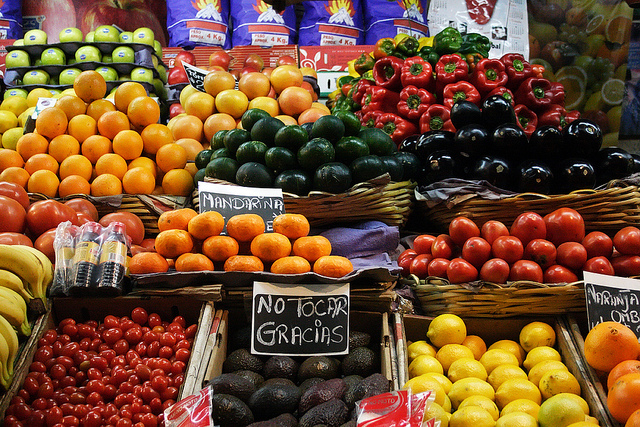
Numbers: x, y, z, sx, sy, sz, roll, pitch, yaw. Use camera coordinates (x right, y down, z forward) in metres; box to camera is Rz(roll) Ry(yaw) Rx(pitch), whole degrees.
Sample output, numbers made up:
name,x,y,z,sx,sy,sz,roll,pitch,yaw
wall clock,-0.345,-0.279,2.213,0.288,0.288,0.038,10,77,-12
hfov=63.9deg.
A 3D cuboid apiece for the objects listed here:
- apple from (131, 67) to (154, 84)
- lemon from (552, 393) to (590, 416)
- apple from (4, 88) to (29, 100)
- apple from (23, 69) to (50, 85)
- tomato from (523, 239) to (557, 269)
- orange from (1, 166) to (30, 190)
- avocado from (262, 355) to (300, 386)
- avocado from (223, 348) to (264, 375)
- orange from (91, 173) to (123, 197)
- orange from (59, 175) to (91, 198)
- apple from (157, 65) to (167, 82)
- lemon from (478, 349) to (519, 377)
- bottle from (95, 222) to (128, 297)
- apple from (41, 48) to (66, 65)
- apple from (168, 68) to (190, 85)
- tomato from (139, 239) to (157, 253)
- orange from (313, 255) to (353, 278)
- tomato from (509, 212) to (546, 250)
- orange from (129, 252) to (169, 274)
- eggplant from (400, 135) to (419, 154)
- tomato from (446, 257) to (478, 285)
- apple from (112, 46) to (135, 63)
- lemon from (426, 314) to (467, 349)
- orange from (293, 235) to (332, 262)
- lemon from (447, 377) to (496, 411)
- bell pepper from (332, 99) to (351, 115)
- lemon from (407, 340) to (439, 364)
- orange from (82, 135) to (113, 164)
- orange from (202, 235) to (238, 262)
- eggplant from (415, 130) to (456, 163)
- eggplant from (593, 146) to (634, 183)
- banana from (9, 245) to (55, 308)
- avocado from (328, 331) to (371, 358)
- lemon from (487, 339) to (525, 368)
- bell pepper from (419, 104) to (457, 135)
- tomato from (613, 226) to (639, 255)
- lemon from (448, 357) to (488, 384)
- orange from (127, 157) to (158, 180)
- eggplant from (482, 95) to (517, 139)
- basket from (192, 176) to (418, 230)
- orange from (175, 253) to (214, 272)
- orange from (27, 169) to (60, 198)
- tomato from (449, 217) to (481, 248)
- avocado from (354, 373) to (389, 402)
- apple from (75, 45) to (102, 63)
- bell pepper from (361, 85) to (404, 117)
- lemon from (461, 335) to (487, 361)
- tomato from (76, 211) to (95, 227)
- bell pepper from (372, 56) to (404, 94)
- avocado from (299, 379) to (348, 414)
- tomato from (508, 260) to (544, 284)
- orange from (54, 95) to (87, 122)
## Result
name,x,y,z,sx,sy,sz,roll,pitch,yaw
apple,-1.637,-1.268,4.737,0.201,0.162,0.217,-2,-3,-19
lemon,1.279,0.939,2.582,0.158,0.080,0.149,-1,4,2
apple,-2.663,-1.041,4.485,0.134,0.109,0.111,-12,7,34
apple,-2.578,-1.242,4.693,0.187,0.179,0.178,-3,21,-11
tomato,1.305,0.246,3.048,0.227,0.180,0.220,-4,0,-5
orange,-2.081,-0.234,3.555,0.159,0.181,0.154,-6,2,-8
avocado,-0.204,0.806,2.620,0.128,0.124,0.164,1,-11,-1
avocado,-0.402,0.786,2.711,0.167,0.094,0.125,3,-5,2
orange,-1.471,-0.187,3.551,0.172,0.163,0.162,-9,24,-9
orange,-1.687,-0.199,3.599,0.168,0.188,0.163,-4,7,-7
apple,-1.578,-1.406,5.158,0.060,0.139,0.066,-11,12,17
lemon,0.964,0.797,2.785,0.165,0.125,0.129,5,1,11
bottle,-1.180,0.262,2.918,0.215,0.449,0.207,-5,-34,-4
apple,-2.545,-1.489,4.877,0.144,0.145,0.150,34,30,15
apple,-1.425,-1.377,5.107,0.271,0.205,0.105,-6,-4,43
tomato,-1.087,0.209,3.242,0.068,0.078,0.071,29,25,38
orange,0.071,0.274,2.801,0.142,0.071,0.135,-2,4,-31
tomato,1.225,0.092,3.014,0.209,0.249,0.195,5,3,0
orange,-0.955,0.286,2.803,0.145,0.099,0.141,0,-7,1
eggplant,0.669,-0.506,3.822,0.150,0.082,0.127,-11,10,19
tomato,0.832,0.341,3.003,0.209,0.156,0.150,2,15,-14
apple,-1.890,-1.524,4.911,0.204,0.176,0.078,-3,-3,0
lemon,0.716,0.685,2.937,0.222,0.205,0.192,-3,-7,-10
orange,-0.059,0.194,2.962,0.220,0.153,0.204,1,15,-20
lemon,0.761,0.894,2.611,0.204,0.144,0.150,0,13,-7
bell pepper,0.195,-0.983,4.714,0.054,0.167,0.091,33,12,-32
lemon,0.578,0.757,2.909,0.129,0.123,0.156,15,20,41
orange,-1.591,-0.447,3.666,0.136,0.133,0.160,-38,-3,27
orange,-0.555,0.198,2.847,0.159,0.105,0.150,4,-5,-37
eggplant,0.806,-0.475,3.649,0.268,0.144,0.195,-10,9,-15
eggplant,1.954,-0.325,3.486,0.265,0.207,0.208,-6,-2,42
banana,-1.541,0.342,2.832,0.233,0.283,0.086,-4,16,14
avocado,0.162,0.725,2.825,0.229,0.120,0.110,-9,-11,-11
lemon,1.046,0.788,2.914,0.160,0.179,0.151,0,1,2
bell pepper,0.932,-0.735,4.029,0.252,0.243,0.303,-2,5,18
tomato,1.794,0.165,3.014,0.158,0.158,0.148,-3,-3,-3
lemon,0.789,0.819,2.751,0.165,0.122,0.124,-2,36,-12
orange,-1.273,-0.321,3.713,0.159,0.177,0.154,-3,0,-9
eggplant,1.222,-0.675,3.557,0.168,0.311,0.161,-36,30,-28
basket,0.157,-0.032,3.794,1.090,0.290,1.069,-8,1,11
orange,-0.689,0.284,2.823,0.125,0.065,0.124,6,-4,-42
orange,-1.935,-0.196,3.571,0.184,0.190,0.185,3,-11,14
tomato,0.856,0.092,3.106,0.179,0.132,0.131,9,29,11
avocado,0.248,0.817,2.450,0.102,0.076,0.139,-2,27,47
apple,-2.215,-1.526,4.913,0.240,0.208,0.201,-2,-3,-24
bell pepper,0.541,-0.932,4.290,0.315,0.178,0.201,16,-25,-8
lemon,0.881,0.755,2.907,0.127,0.143,0.126,2,3,4
tomato,-1.485,0.043,3.246,0.093,0.068,0.120,1,0,-7
bell pepper,0.602,-1.187,4.467,0.286,0.291,0.363,18,19,25
avocado,0.026,0.851,2.447,0.208,0.078,0.117,-18,23,-32
tomato,1.171,0.333,2.913,0.149,0.141,0.135,-1,6,2
orange,-1.889,-0.805,3.850,0.180,0.173,0.207,1,-10,12
